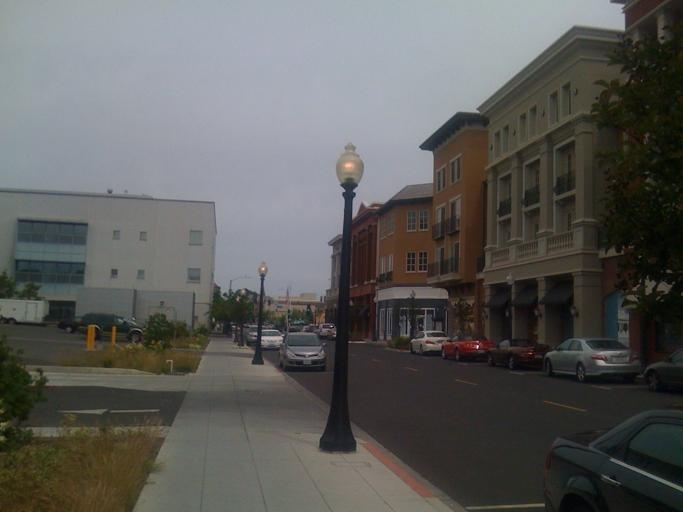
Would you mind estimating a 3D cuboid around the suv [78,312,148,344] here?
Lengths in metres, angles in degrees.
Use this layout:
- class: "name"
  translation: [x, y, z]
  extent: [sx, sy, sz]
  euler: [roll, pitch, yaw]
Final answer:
- class: "suv"
  translation: [-14.653, 4.580, 39.748]
  extent: [3.307, 1.545, 1.906]
  euler: [1, -4, -4]
